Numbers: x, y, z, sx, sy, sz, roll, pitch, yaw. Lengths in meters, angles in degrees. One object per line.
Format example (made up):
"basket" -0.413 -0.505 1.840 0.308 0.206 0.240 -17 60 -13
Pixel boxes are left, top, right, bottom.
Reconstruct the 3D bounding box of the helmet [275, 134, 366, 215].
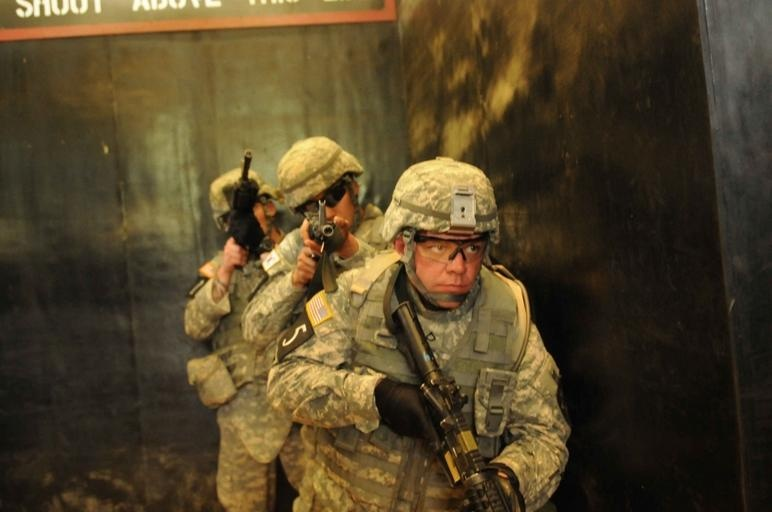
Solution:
"helmet" -0.368 -0.432 4.170 0.377 0.261 0.384 -37 28 -3

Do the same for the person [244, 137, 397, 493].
"person" -0.399 -0.143 4.113 0.667 1.245 0.417 16 -38 -3

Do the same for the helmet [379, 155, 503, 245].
"helmet" 0.238 -0.260 3.529 0.515 0.412 0.577 7 14 15

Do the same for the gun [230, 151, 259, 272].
"gun" -0.771 -0.231 4.250 0.134 0.221 0.751 -21 -31 -19

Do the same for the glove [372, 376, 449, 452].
"glove" 0.116 0.627 3.290 0.287 0.231 0.108 36 37 18

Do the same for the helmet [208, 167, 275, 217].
"helmet" -0.854 -0.376 4.580 0.330 0.269 0.250 -29 1 -15
